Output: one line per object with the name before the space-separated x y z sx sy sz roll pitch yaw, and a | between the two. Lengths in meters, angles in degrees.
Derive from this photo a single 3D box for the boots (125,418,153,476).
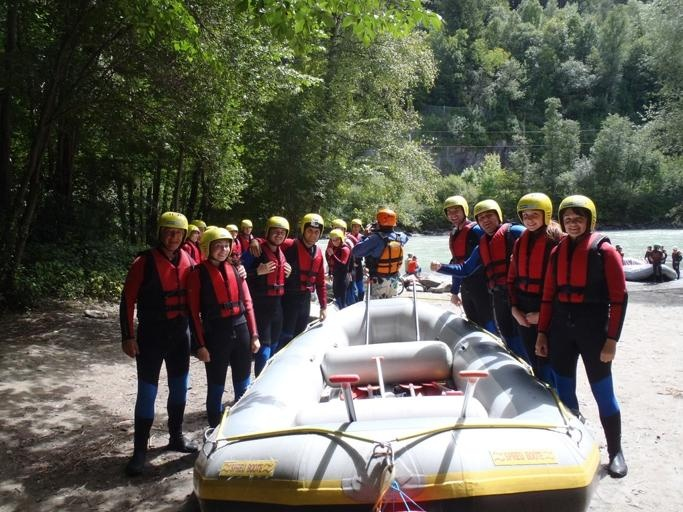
boots | -2.339 2.144 7.034 0.339 0.610 0.344 -8 16 -32

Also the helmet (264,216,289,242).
helmet | -0.886 -0.375 8.509 0.308 0.372 0.445 -2 13 -8

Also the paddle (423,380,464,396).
paddle | 1.141 1.556 7.142 0.221 0.075 0.233 10 -38 -22

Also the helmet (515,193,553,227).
helmet | 2.397 -0.596 7.541 0.337 0.431 0.447 4 14 30

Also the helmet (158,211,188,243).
helmet | -1.986 -0.355 7.152 0.238 0.292 0.297 18 3 -43

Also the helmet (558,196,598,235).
helmet | 2.706 -0.501 6.980 0.379 0.469 0.503 3 21 16

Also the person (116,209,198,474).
person | -2.112 1.169 7.109 0.888 2.457 0.610 -7 15 -27

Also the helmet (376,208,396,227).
helmet | 0.744 -0.612 9.581 0.298 0.266 0.219 -16 27 -38

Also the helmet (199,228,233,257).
helmet | -1.457 -0.171 7.328 0.335 0.333 0.269 14 8 19

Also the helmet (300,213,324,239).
helmet | -0.420 -0.462 8.945 0.264 0.334 0.346 3 -1 -12

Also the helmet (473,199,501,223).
helmet | 2.000 -0.612 8.395 0.301 0.317 0.384 0 14 26

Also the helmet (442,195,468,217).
helmet | 1.713 -0.779 9.124 0.299 0.303 0.377 4 11 34
